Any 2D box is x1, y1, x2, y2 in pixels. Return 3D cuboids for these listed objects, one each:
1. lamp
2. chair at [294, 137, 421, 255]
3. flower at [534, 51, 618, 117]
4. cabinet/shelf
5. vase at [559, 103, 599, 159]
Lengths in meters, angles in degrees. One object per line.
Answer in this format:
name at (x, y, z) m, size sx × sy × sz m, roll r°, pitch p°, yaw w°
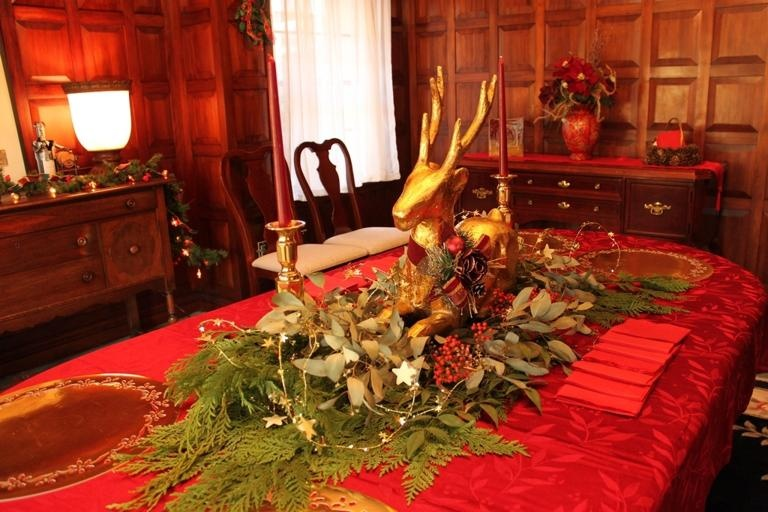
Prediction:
lamp at (-1.846, -0.898, 3.337) m, size 0.408 × 0.430 × 0.413 m, roll 1°, pitch 17°, yaw 6°
chair at (-0.252, -0.447, 3.643) m, size 0.665 × 1.062 × 0.615 m, roll 21°, pitch 38°, yaw 32°
flower at (1.473, -1.264, 3.918) m, size 0.565 × 0.406 × 0.563 m, roll -2°, pitch 23°, yaw 3°
cabinet/shelf at (1.501, -0.436, 4.050) m, size 1.829 × 0.809 × 0.567 m, roll 9°, pitch 29°, yaw 30°
vase at (1.505, -0.942, 3.891) m, size 0.291 × 0.363 × 0.286 m, roll -15°, pitch 19°, yaw -25°
